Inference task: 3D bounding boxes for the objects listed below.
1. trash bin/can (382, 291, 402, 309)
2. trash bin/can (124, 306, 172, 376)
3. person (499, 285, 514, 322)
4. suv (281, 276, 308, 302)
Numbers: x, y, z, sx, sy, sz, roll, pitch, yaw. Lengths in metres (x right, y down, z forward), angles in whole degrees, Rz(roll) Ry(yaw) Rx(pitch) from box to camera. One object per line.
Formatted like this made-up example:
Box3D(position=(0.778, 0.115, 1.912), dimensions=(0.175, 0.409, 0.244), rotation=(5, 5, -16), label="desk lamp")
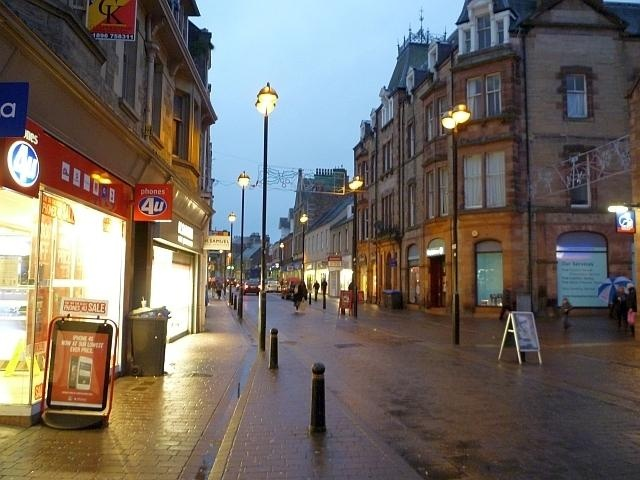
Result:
Box3D(position=(4.127, 3.357, 34.978), dimensions=(0.663, 1.215, 1.391), rotation=(-1, 0, -9), label="trash bin/can")
Box3D(position=(-3.740, 2.132, 13.213), dimensions=(0.927, 1.886, 1.104), rotation=(1, -3, -7), label="trash bin/can")
Box3D(position=(8.083, 2.752, 26.889), dimensions=(0.603, 1.279, 1.900), rotation=(1, 1, 17), label="person")
Box3D(position=(-2.287, 3.682, 46.775), dimensions=(1.332, 1.492, 2.618), rotation=(1, 0, -4), label="suv")
